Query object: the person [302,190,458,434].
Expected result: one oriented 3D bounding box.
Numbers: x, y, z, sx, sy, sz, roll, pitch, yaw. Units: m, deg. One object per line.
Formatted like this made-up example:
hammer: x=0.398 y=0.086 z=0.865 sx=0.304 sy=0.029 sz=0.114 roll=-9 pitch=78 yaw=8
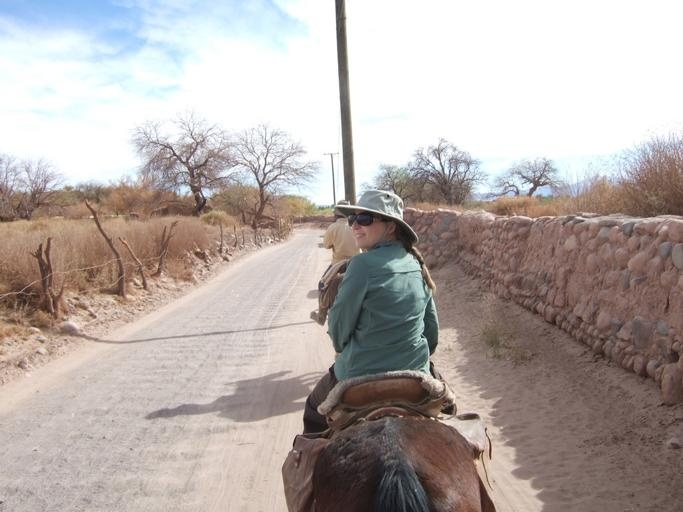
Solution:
person: x=0.283 y=0.598 z=4.607 sx=1.282 sy=2.316 sz=1.000 roll=-1 pitch=12 yaw=-6
